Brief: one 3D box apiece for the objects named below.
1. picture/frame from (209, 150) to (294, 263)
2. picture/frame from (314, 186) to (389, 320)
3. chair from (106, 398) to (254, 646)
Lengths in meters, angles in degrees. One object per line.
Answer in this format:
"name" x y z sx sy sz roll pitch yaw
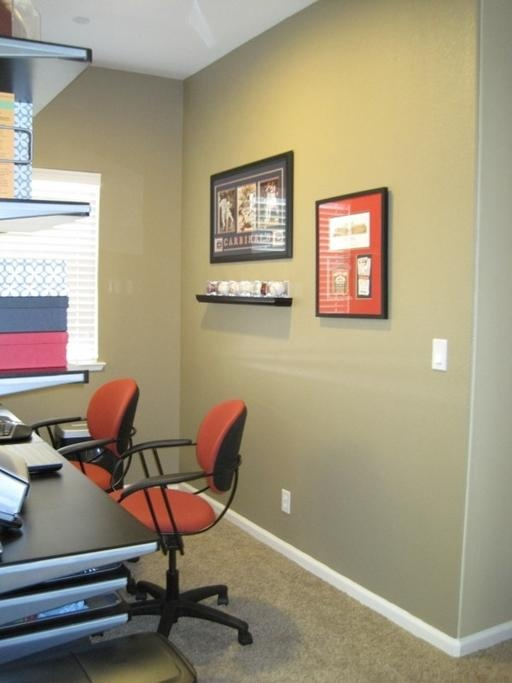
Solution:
"picture/frame" -0.012 -0.781 2.974 0.033 0.570 0.743 -3 4 -32
"picture/frame" 0.435 -0.395 2.270 0.030 0.810 0.575 -2 4 -30
"chair" -0.344 0.757 2.152 0.568 0.954 0.601 0 3 -7
